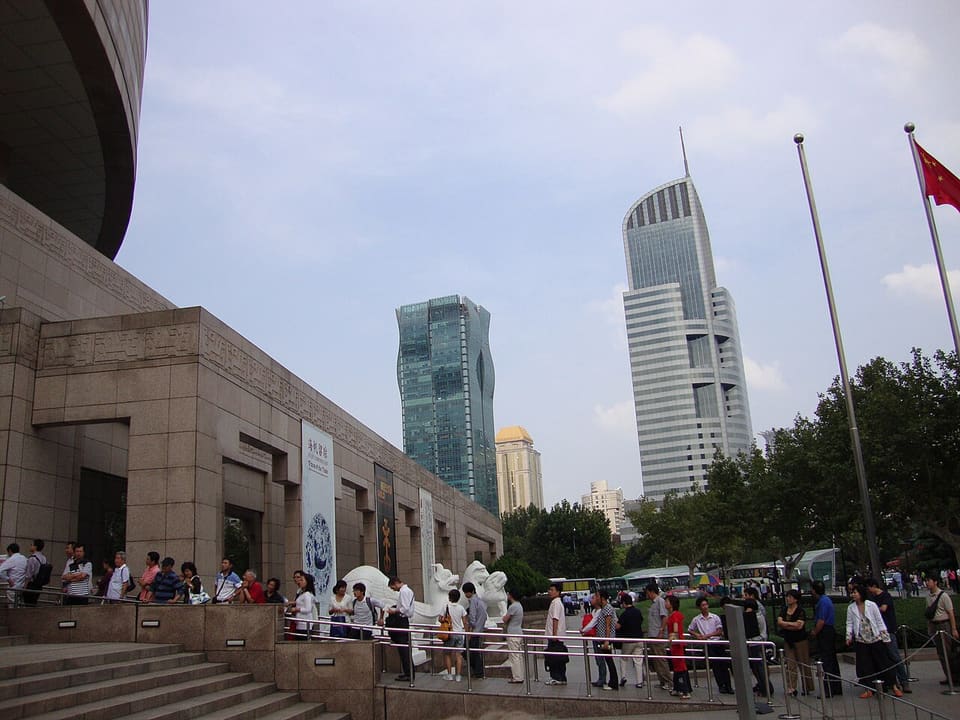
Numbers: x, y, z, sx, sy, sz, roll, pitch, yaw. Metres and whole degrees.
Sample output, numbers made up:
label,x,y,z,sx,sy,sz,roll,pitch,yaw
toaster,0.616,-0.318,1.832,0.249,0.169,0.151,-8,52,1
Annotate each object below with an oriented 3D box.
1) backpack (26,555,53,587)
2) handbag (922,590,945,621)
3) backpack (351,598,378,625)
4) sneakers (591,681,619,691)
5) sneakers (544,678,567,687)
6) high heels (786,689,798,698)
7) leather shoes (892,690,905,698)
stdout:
label,x,y,z,sx,sy,sz,roll,pitch,yaw
backpack,-9.546,4.578,17.802,0.574,0.651,0.445,3,-8,5
handbag,9.100,4.912,16.450,0.184,0.498,0.460,10,-23,-33
backpack,-2.501,5.417,17.703,0.429,0.599,0.553,1,-2,9
sneakers,2.502,6.580,16.553,0.514,0.232,0.176,-4,-8,20
sneakers,1.555,6.729,17.146,0.408,0.186,0.180,-7,-22,27
high heels,5.898,6.268,15.526,0.098,0.215,0.313,-5,-24,11
leather shoes,7.687,6.120,15.142,0.153,0.069,0.217,4,-8,8
